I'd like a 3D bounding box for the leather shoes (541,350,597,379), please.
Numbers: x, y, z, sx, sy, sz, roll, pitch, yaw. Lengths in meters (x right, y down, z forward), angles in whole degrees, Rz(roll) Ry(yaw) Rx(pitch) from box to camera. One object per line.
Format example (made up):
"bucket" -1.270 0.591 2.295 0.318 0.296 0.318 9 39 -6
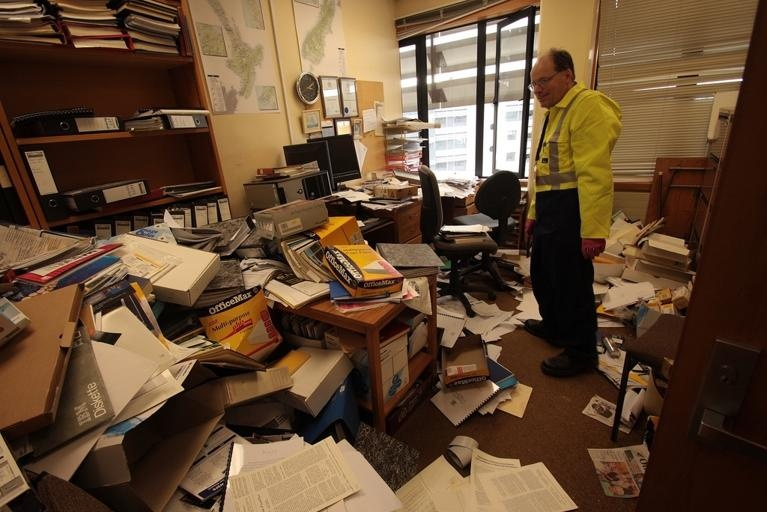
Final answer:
"leather shoes" 1.170 0.677 3.179 0.315 0.131 0.154 -1 11 -3

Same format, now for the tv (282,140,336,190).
"tv" -0.582 -0.680 3.760 0.470 0.474 0.036 -3 8 -5

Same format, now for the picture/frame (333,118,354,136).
"picture/frame" -0.375 -1.151 4.455 0.026 0.165 0.245 6 21 30

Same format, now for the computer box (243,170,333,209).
"computer box" -0.759 -0.519 3.562 0.342 0.230 0.477 12 29 42

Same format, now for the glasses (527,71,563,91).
"glasses" 0.935 -1.048 3.018 0.119 0.098 0.253 -10 20 -12

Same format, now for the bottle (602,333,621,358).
"bottle" 1.492 0.607 3.293 0.081 0.060 0.226 -25 -2 8

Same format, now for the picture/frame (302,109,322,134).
"picture/frame" -0.617 -1.136 4.198 0.029 0.192 0.225 -1 7 35

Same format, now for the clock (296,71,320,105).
"clock" -0.638 -1.388 4.115 0.053 0.272 0.276 3 12 32

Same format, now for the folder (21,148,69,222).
"folder" -1.761 -0.365 2.606 0.113 0.365 0.071 -20 24 -32

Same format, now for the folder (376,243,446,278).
"folder" 0.140 0.013 2.885 0.351 0.151 0.386 -11 20 -15

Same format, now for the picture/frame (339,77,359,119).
"picture/frame" -0.334 -1.436 4.556 0.026 0.357 0.339 -13 23 -30

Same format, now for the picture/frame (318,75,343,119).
"picture/frame" -0.461 -1.382 4.360 0.027 0.356 0.309 2 18 22

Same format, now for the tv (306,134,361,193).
"tv" -0.423 -0.742 4.008 0.173 0.463 0.492 7 25 36

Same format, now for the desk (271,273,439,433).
"desk" -0.023 0.474 2.968 0.893 0.843 0.862 13 32 30

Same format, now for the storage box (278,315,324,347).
"storage box" -0.453 0.414 2.681 0.164 0.077 0.213 2 5 5

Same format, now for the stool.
"stool" 1.422 0.659 2.708 0.253 0.636 0.422 8 24 35
